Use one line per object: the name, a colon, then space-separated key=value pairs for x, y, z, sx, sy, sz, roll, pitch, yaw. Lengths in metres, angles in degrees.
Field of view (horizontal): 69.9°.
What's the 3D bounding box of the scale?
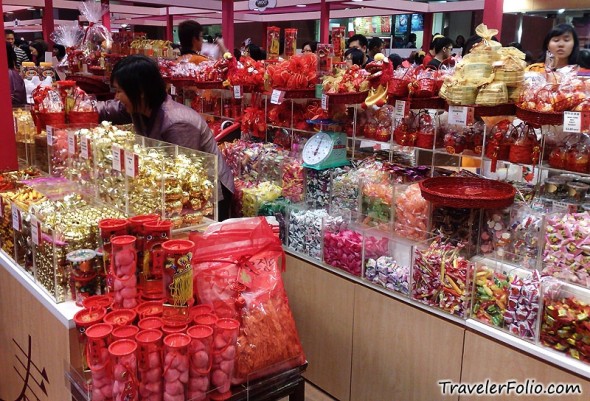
scale: x=0.221 y=-0.441 z=3.286 sx=0.366 sy=0.343 sz=0.360 roll=-5 pitch=12 yaw=-9
